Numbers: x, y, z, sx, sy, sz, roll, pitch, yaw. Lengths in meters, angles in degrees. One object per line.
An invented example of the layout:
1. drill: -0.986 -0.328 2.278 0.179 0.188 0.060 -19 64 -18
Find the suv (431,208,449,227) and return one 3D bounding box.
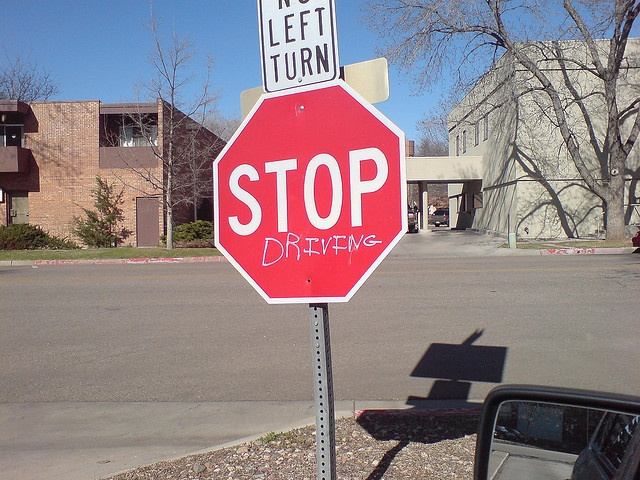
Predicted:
1. suv: 9.687 -1.758 70.800 1.343 1.230 4.847 2 3 7
